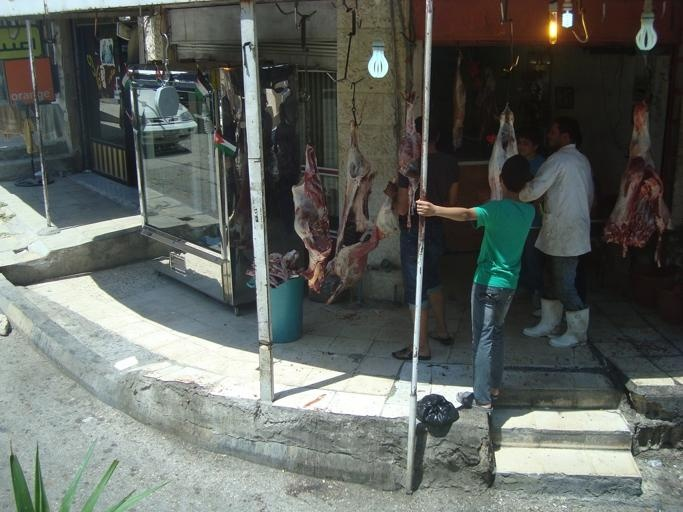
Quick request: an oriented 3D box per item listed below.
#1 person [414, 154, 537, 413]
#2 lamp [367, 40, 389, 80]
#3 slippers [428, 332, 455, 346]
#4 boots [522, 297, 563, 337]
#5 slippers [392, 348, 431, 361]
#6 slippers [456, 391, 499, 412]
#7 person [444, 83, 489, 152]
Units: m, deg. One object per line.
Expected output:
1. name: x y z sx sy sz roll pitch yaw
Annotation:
1. person: 1.352 0.286 5.738 1.066 2.340 0.539 -14 21 -38
2. lamp: 0.361 -1.940 6.100 0.174 0.326 0.354 1 17 4
3. slippers: 1.120 0.920 6.883 0.106 0.110 0.283 -17 28 -35
4. boots: 2.309 0.704 6.869 0.218 0.435 0.434 -3 0 -45
5. slippers: 0.747 1.017 6.594 0.387 0.122 0.153 4 14 1
6. slippers: 1.261 1.375 5.737 0.356 0.102 0.188 15 49 22
7. person: 1.775 -2.112 8.944 0.518 1.413 0.183 3 50 24
